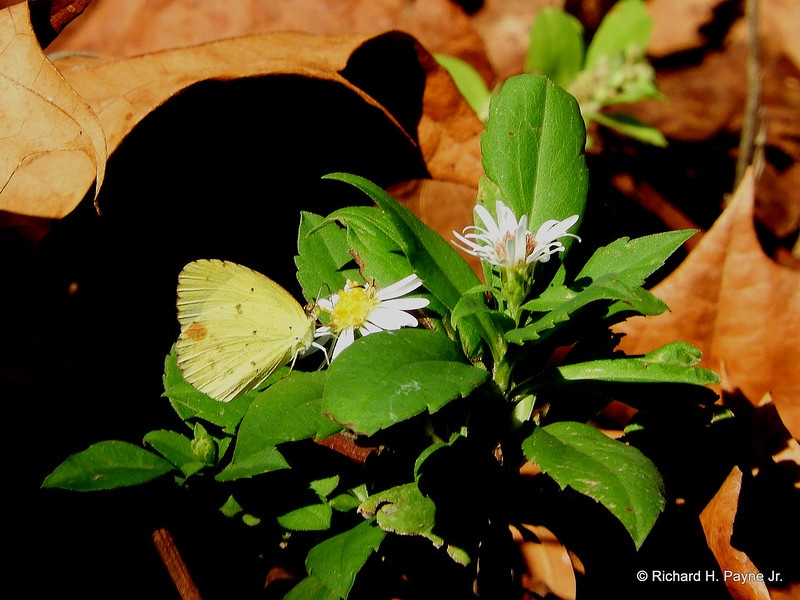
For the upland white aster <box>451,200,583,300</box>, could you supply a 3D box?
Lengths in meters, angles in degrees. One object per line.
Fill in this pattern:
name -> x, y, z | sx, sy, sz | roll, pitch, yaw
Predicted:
upland white aster -> 0.409, -0.139, 3.238 | 0.404, 0.398, 0.433 | -10, -6, 39
